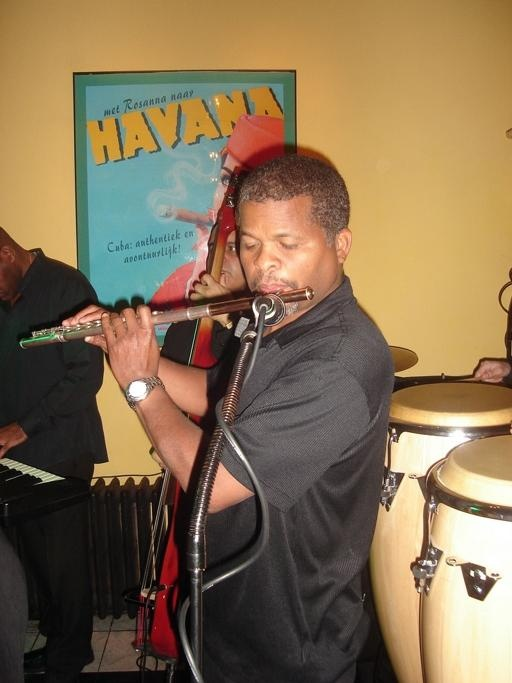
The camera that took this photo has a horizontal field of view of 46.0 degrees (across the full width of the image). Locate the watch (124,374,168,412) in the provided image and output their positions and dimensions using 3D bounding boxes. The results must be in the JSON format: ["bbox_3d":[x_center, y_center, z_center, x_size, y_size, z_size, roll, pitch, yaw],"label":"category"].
[{"bbox_3d":[-0.239,0.109,1.296,0.081,0.052,0.077,-24,-18,10],"label":"watch"}]

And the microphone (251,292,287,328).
[{"bbox_3d":[0.020,-0.053,1.041,0.049,0.056,0.030,5,-3,3],"label":"microphone"}]

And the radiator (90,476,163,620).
[{"bbox_3d":[-0.534,0.933,2.844,0.584,0.572,0.144,0,0,22],"label":"radiator"}]
